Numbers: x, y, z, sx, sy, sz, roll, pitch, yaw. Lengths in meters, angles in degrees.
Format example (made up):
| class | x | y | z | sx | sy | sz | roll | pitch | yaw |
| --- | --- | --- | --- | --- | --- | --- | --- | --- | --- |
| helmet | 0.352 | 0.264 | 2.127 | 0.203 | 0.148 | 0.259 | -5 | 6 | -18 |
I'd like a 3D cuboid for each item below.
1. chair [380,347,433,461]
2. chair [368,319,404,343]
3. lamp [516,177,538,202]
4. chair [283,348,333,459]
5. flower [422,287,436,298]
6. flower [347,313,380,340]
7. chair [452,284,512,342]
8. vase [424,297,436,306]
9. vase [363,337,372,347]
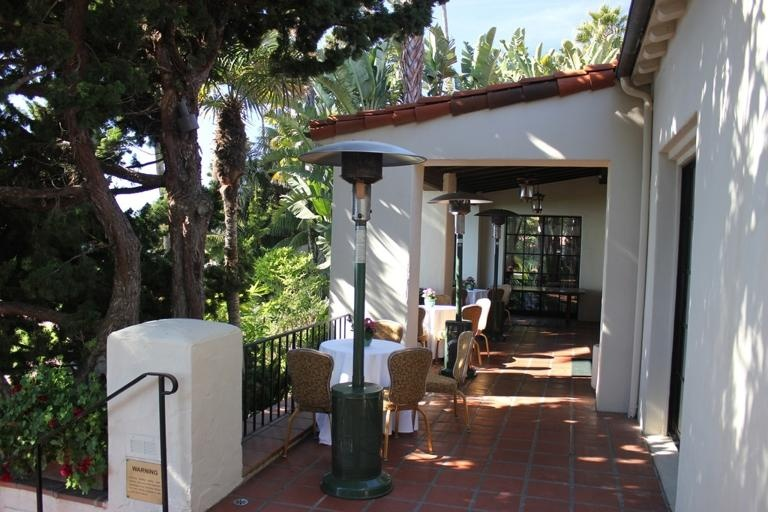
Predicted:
| class | x | y | z | sx | sy | sz | roll | pitch | yaw |
| --- | --- | --- | --- | --- | --- | --- | --- | --- | --- |
| chair | 0.297 | 1.653 | 7.324 | 0.608 | 1.251 | 0.828 | 2 | 9 | -1 |
| chair | 0.021 | 1.055 | 8.795 | 0.387 | 0.512 | 0.370 | 2 | -8 | 3 |
| lamp | 3.258 | -1.488 | 13.923 | 0.354 | 0.528 | 0.847 | 3 | 9 | 5 |
| chair | -0.911 | 1.644 | 7.232 | 0.558 | 1.231 | 0.676 | 1 | 9 | -6 |
| flower | 0.807 | 0.674 | 11.457 | 0.178 | 0.129 | 0.185 | -2 | -1 | 36 |
| flower | -0.313 | 0.936 | 7.933 | 0.417 | 0.207 | 0.434 | -5 | -7 | 36 |
| chair | 2.195 | 1.206 | 13.814 | 1.039 | 1.307 | 1.191 | -2 | -12 | 18 |
| vase | 0.814 | 0.815 | 11.145 | 0.139 | 0.102 | 0.135 | 0 | 2 | 11 |
| vase | -0.214 | 1.077 | 7.741 | 0.111 | 0.094 | 0.114 | 1 | -6 | -6 |
